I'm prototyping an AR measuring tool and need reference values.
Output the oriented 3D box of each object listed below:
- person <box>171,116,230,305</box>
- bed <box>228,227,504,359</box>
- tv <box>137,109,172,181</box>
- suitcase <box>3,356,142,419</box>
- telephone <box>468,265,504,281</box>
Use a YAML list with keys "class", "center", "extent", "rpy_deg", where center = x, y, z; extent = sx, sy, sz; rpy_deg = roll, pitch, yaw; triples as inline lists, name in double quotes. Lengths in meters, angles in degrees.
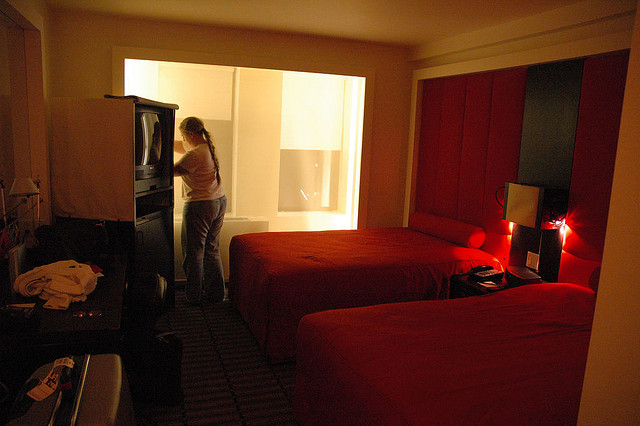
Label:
- class: "person"
  center: [-1.326, -0.047, 5.155]
  extent: [0.575, 2.013, 0.825]
  rpy_deg: [1, 14, -12]
- class: "bed"
  center: [0.195, 0.544, 4.318]
  extent: [1.530, 0.558, 1.548]
  rpy_deg: [-2, 6, -19]
- class: "tv"
  center: [-1.586, -0.672, 4.329]
  extent: [0.337, 0.581, 0.610]
  rpy_deg: [6, 12, 2]
- class: "suitcase"
  center: [-1.247, 0.897, 2.321]
  extent: [0.455, 0.109, 0.481]
  rpy_deg: [2, 9, -9]
- class: "telephone"
  center: [1.536, 0.546, 4.249]
  extent: [0.337, 0.091, 0.215]
  rpy_deg: [-4, 16, -31]
